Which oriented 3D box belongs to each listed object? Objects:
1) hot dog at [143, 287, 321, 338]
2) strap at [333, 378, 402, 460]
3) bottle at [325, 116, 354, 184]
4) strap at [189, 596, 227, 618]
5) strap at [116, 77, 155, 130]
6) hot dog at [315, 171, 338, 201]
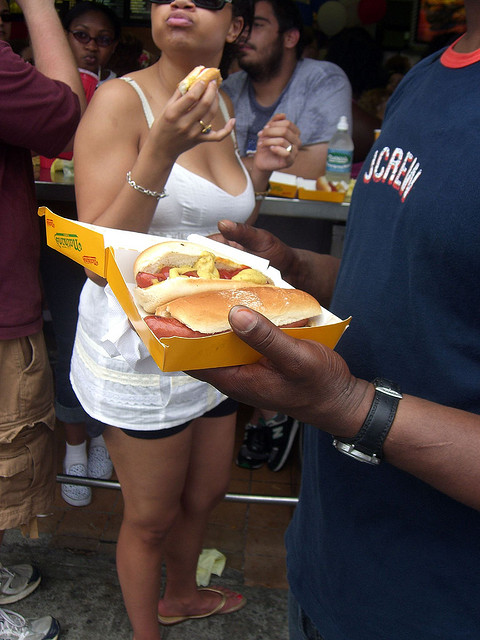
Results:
[{"bbox_3d":[-0.017,-0.017,1.109,0.350,0.090,0.168,-9,13,-26],"label":"hot dog"},{"bbox_3d":[0.200,0.166,0.860,0.074,0.108,0.051,14,32,10],"label":"strap"},{"bbox_3d":[0.547,-0.932,2.976,0.155,0.349,0.144,2,17,-1],"label":"bottle"},{"bbox_3d":[-0.134,1.276,2.422,0.070,0.021,0.125,2,4,44],"label":"strap"},{"bbox_3d":[-0.309,-0.697,1.759,0.050,0.198,0.116,-32,-5,7],"label":"strap"},{"bbox_3d":[0.465,-0.711,2.915,0.147,0.045,0.145,15,45,-40],"label":"hot dog"}]
